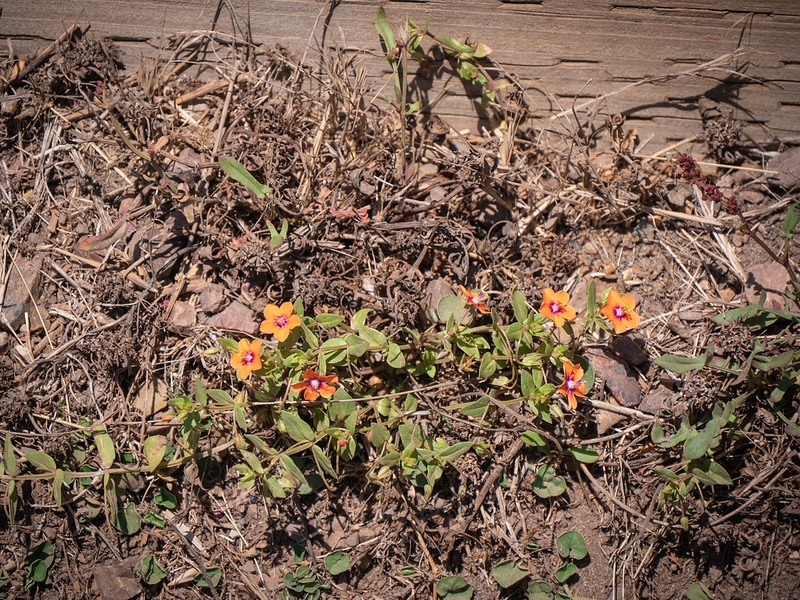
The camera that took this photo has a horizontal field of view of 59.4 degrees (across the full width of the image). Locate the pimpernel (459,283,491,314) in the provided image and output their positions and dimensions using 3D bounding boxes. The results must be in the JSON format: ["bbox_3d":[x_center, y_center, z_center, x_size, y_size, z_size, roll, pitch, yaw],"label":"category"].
[{"bbox_3d":[0.485,0.003,4.399,0.167,0.064,0.168,30,21,-46],"label":"pimpernel"}]

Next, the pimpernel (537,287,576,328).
[{"bbox_3d":[0.955,0.042,4.370,0.226,0.076,0.231,-26,80,-16],"label":"pimpernel"}]

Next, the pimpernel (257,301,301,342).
[{"bbox_3d":[-0.721,0.113,4.246,0.215,0.046,0.222,49,37,-19],"label":"pimpernel"}]

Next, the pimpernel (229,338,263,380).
[{"bbox_3d":[-0.921,0.346,4.206,0.223,0.075,0.226,-22,75,-1],"label":"pimpernel"}]
